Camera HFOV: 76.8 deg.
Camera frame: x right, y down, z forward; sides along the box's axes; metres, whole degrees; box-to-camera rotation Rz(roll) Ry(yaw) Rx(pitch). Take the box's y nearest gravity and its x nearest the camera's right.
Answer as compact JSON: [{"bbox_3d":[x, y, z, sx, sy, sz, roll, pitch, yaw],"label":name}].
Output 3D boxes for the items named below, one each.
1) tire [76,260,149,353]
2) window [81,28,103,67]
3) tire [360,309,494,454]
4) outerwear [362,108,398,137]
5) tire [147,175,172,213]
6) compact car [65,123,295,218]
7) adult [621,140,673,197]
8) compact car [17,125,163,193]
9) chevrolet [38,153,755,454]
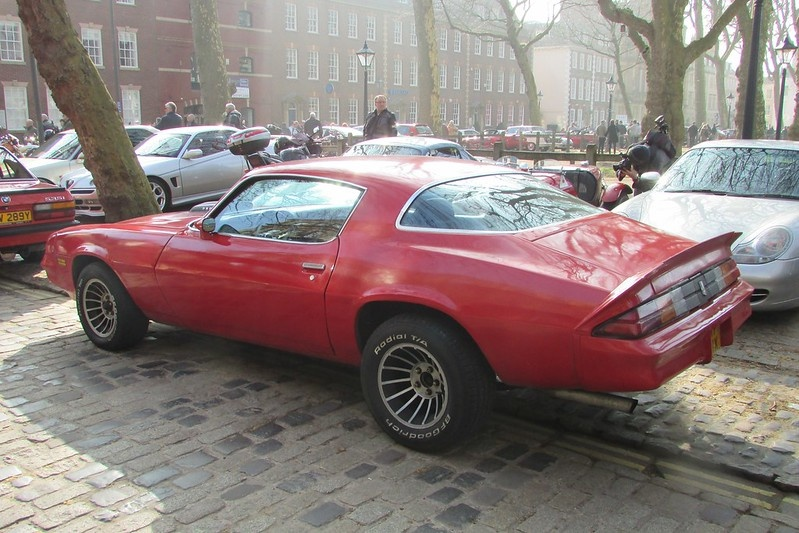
[{"bbox_3d":[-3.020,0.428,5.393,1.093,0.881,0.373,2,10,40],"label":"tire"},{"bbox_3d":[-22.407,-16.154,37.260,1.369,2.825,0.743,-12,21,-19],"label":"window"},{"bbox_3d":[0.217,0.819,3.626,0.382,0.885,1.077,-1,0,-43],"label":"tire"},{"bbox_3d":[-0.491,-3.723,13.151,0.989,0.745,0.591,12,25,42],"label":"outerwear"},{"bbox_3d":[-5.602,-1.683,12.192,0.396,0.901,1.039,-18,26,-27],"label":"tire"},{"bbox_3d":[-5.037,-2.524,12.910,2.582,1.403,5.527,8,12,41],"label":"compact car"},{"bbox_3d":[4.514,-1.920,9.367,1.210,0.433,0.791,6,-4,-39],"label":"adult"},{"bbox_3d":[-8.682,-2.986,13.778,1.975,1.263,4.415,30,35,34],"label":"compact car"},{"bbox_3d":[-0.510,-0.090,4.403,5.344,1.293,2.474,10,16,26],"label":"chevrolet"}]
